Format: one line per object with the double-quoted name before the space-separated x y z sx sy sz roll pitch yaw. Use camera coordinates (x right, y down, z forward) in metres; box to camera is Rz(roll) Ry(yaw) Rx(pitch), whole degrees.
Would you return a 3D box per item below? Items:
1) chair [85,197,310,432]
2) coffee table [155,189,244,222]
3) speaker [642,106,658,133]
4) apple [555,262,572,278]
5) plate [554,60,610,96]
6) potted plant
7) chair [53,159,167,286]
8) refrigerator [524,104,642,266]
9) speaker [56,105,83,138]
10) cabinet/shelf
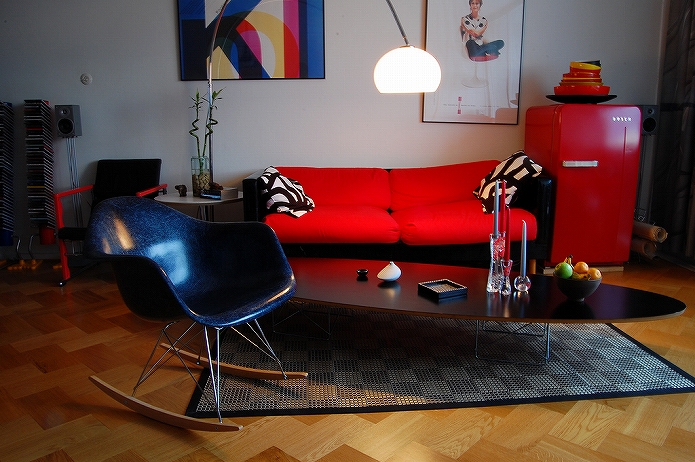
"chair" -0.872 0.429 2.995 1.317 1.072 1.167 6 11 0
"coffee table" -1.333 -0.163 4.576 0.470 0.289 0.469 12 18 30
"speaker" 2.852 -1.060 4.743 0.184 0.265 0.055 -4 13 -11
"apple" 1.322 0.231 3.059 0.100 0.084 0.083 3 13 22
"plate" 2.164 -1.386 4.620 0.383 0.214 0.370 0 13 9
"potted plant" -1.355 -0.883 4.824 0.366 0.985 0.673 -4 13 -12
"chair" -2.186 -0.105 4.751 1.000 1.020 0.941 -5 19 -18
"refrigerator" 2.197 -0.443 4.989 1.177 1.535 1.157 3 5 18
"speaker" -2.719 -1.082 4.910 0.228 0.287 0.222 3 10 22
"cabinet/shelf" 2.192 -0.430 5.005 1.032 1.555 0.951 -1 6 -26
